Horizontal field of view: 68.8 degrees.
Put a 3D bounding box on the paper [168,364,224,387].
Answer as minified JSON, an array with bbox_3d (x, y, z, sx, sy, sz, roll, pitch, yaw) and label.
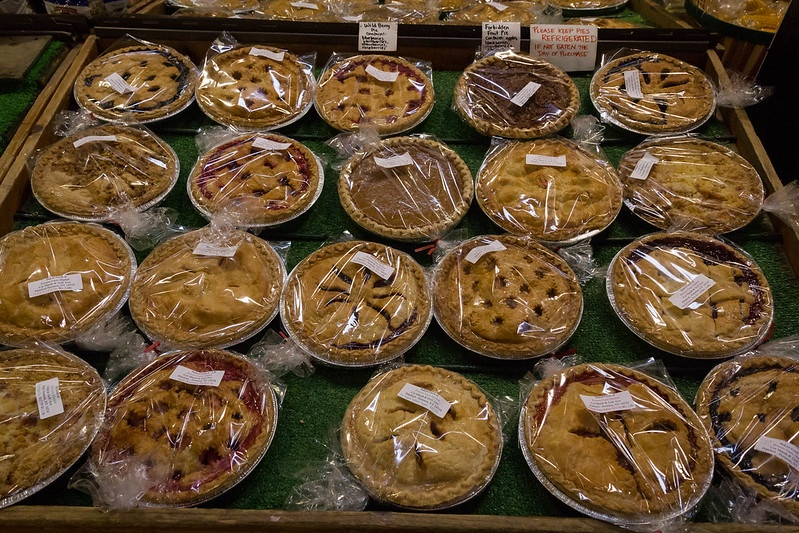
[{"bbox_3d":[-1.172,0.630,3.363,0.247,0.039,0.128,13,46,-6],"label":"paper"}]

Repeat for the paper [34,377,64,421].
[{"bbox_3d":[-1.982,0.743,3.309,0.134,0.054,0.211,-20,58,-12],"label":"paper"}]

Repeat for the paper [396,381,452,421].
[{"bbox_3d":[0.144,0.741,3.288,0.274,0.063,0.142,27,59,15],"label":"paper"}]
